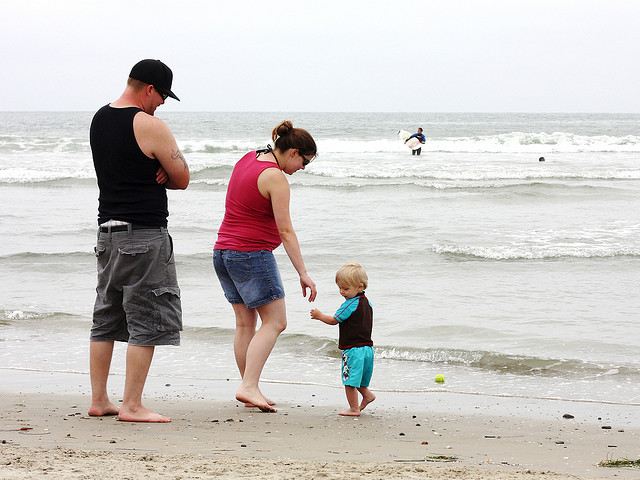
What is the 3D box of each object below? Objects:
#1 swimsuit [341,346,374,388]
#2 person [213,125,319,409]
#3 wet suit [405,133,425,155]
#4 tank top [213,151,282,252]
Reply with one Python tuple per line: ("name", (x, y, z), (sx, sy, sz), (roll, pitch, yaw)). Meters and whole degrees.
("swimsuit", (0.416, 1.355, 12.414), (0.324, 0.470, 0.202), (4, 16, -2))
("person", (-0.630, 0.306, 12.234), (0.978, 3.043, 0.746), (4, 16, -4))
("wet suit", (3.321, -3.202, 38.589), (0.730, 0.687, 0.359), (7, 17, 2))
("tank top", (-0.677, -0.399, 12.131), (0.720, 1.039, 0.429), (7, 16, 9))
